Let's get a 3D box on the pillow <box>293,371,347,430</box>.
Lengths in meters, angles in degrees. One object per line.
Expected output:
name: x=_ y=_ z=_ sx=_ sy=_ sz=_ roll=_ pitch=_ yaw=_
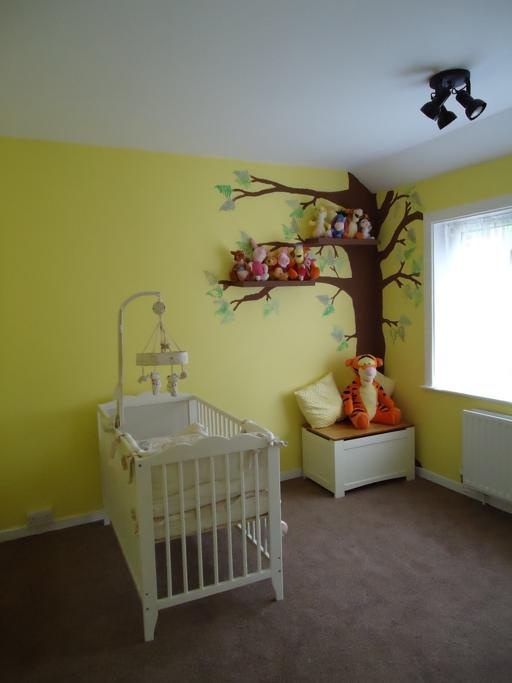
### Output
pillow: x=0.469 y=0.428 z=4.041 sx=0.346 sy=0.330 sz=0.103 roll=-15 pitch=-8 yaw=-44

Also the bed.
bed: x=-0.376 y=0.775 z=2.886 sx=0.737 sy=0.731 sz=1.138 roll=-2 pitch=3 yaw=-18

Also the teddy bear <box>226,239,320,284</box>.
teddy bear: x=0.152 y=-0.547 z=3.855 sx=0.741 sy=0.288 sz=0.271 roll=-8 pitch=9 yaw=-44

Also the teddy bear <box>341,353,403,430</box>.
teddy bear: x=0.809 y=0.331 z=4.091 sx=0.493 sy=0.636 sz=0.468 roll=-1 pitch=1 yaw=-24

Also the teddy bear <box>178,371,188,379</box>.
teddy bear: x=-0.382 y=0.176 z=2.942 sx=0.052 sy=0.025 sz=0.073 roll=-10 pitch=1 yaw=-2

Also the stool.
stool: x=0.692 y=0.799 z=4.090 sx=0.775 sy=0.424 sz=0.554 roll=-4 pitch=5 yaw=-33

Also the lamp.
lamp: x=0.855 y=-1.075 z=2.486 sx=0.231 sy=0.207 sz=0.230 roll=-13 pitch=-15 yaw=-20
